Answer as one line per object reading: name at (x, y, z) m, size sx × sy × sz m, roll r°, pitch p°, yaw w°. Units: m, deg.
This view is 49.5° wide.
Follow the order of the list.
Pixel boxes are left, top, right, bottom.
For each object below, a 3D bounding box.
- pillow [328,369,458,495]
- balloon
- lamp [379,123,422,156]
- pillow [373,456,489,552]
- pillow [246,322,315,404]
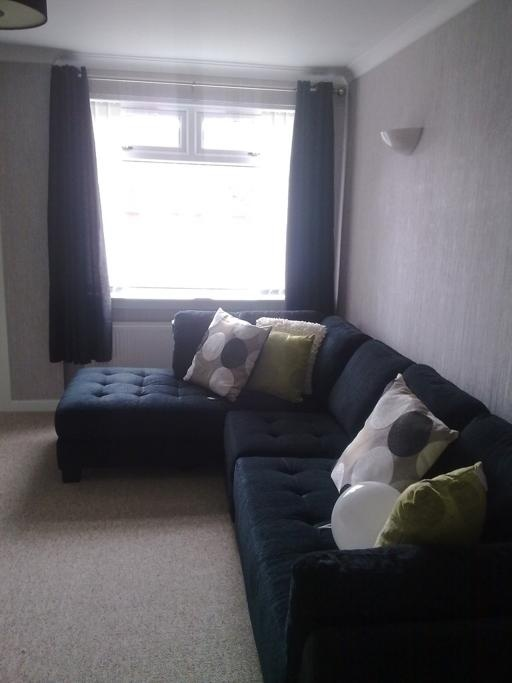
pillow at (0.453, 0.274, 1.958) m, size 0.499 × 0.156 × 0.492 m, roll 4°, pitch -12°, yaw 39°
balloon at (0.260, 0.456, 1.439) m, size 0.089 × 0.163 × 0.174 m, roll 31°, pitch 36°, yaw -34°
lamp at (0.655, -0.907, 2.507) m, size 0.139 × 0.105 × 0.167 m, roll 1°, pitch 11°, yaw -5°
pillow at (0.389, 0.361, 1.241) m, size 0.220 × 0.201 × 0.130 m, roll -11°, pitch 24°, yaw -28°
pillow at (0.081, 0.107, 2.910) m, size 0.363 × 0.349 × 0.197 m, roll 9°, pitch 18°, yaw 18°
